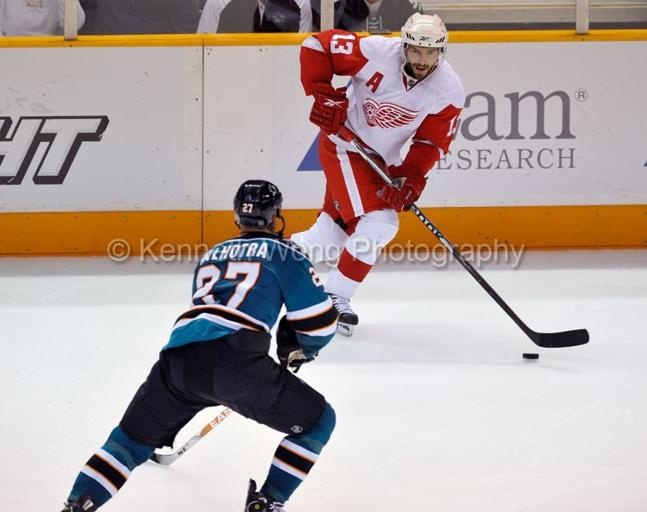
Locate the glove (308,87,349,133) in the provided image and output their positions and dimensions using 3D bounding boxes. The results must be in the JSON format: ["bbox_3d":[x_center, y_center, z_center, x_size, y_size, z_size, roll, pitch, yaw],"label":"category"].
[{"bbox_3d":[0.033,-0.800,5.051,0.208,0.254,0.154,1,17,-10],"label":"glove"}]

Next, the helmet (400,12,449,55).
[{"bbox_3d":[0.524,-1.176,4.846,0.194,0.199,0.212,7,21,-1],"label":"helmet"}]

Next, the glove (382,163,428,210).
[{"bbox_3d":[0.455,-0.376,5.067,0.239,0.202,0.106,-40,-10,-13],"label":"glove"}]

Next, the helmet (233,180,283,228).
[{"bbox_3d":[-0.264,-0.247,4.008,0.188,0.199,0.222,4,21,7],"label":"helmet"}]

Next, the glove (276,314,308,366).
[{"bbox_3d":[-0.163,0.362,4.086,0.145,0.207,0.219,5,24,9],"label":"glove"}]
